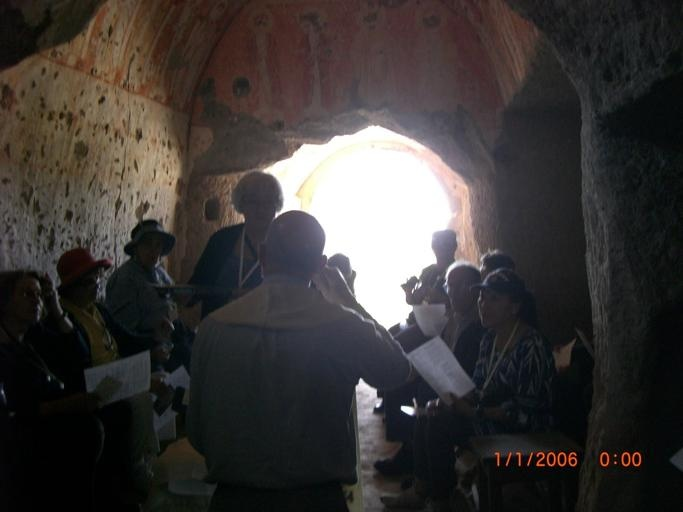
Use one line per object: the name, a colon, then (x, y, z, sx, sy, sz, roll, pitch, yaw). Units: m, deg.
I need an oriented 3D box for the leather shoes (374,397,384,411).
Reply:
leather shoes: (0.357, 1.414, 6.520, 0.075, 0.043, 0.113, -2, 7, 8)

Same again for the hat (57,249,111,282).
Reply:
hat: (-1.623, 0.074, 4.302, 0.230, 0.129, 0.227, -30, 6, 12)
